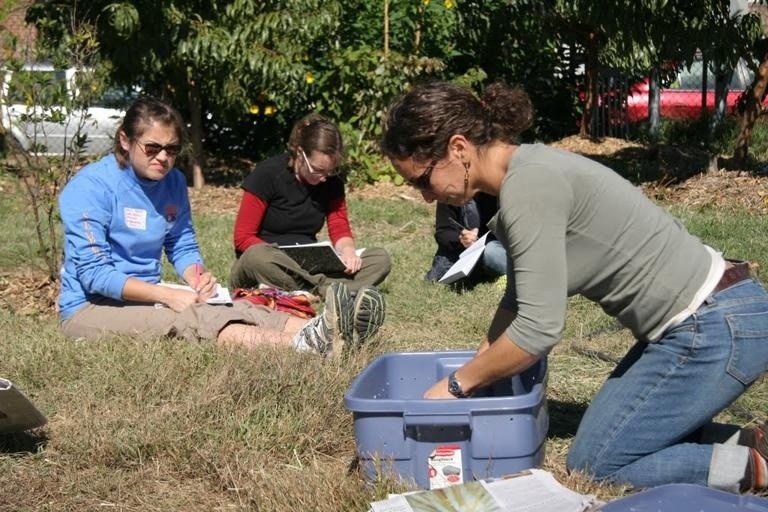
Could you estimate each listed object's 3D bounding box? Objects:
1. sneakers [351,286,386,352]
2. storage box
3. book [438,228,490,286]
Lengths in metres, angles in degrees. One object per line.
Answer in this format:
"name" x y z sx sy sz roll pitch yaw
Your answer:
"sneakers" -0.120 0.459 6.035 0.219 0.432 0.171 4 7 -35
"storage box" 0.369 0.976 4.915 0.935 0.447 0.817 -5 8 9
"book" 0.643 0.058 7.048 0.389 0.142 0.560 -27 26 53
